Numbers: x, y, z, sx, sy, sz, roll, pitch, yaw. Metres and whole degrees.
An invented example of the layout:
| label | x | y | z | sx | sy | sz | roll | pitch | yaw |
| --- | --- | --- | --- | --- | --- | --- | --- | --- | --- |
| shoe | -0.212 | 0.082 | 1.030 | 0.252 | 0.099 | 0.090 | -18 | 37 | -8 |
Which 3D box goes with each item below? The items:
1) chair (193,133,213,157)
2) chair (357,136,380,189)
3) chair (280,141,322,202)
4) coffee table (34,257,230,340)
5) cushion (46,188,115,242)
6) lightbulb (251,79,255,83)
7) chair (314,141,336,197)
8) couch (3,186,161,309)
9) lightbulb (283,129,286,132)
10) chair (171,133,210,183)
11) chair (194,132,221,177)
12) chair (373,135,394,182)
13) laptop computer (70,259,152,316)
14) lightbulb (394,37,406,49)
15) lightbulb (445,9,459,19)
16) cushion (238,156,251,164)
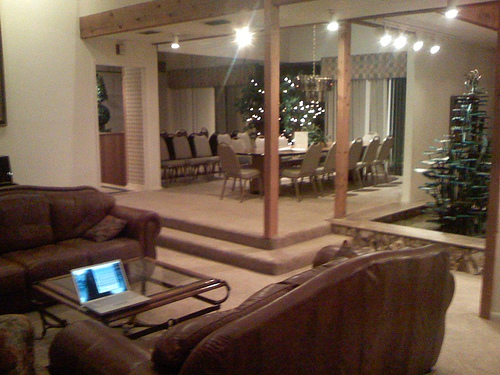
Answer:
| label | x | y | z | sx | sy | sz | roll | pitch | yaw |
| --- | --- | --- | --- | --- | --- | --- | --- | --- | --- |
| chair | -1.142 | -1.000 | 9.331 | 0.470 | 0.613 | 0.486 | -12 | 15 | -41 |
| chair | 2.508 | -0.517 | 8.298 | 0.580 | 1.040 | 0.492 | 6 | 8 | 44 |
| chair | 1.042 | -0.374 | 7.223 | 0.608 | 1.203 | 0.658 | -5 | 8 | -43 |
| coffee table | -1.156 | 0.990 | 3.541 | 1.770 | 0.296 | 1.713 | 0 | 3 | -10 |
| cushion | -1.972 | 0.321 | 4.563 | 0.575 | 0.558 | 0.263 | -20 | -13 | -39 |
| lightbulb | 0.109 | -3.225 | 11.871 | 0.107 | 0.116 | 0.151 | -8 | 9 | 13 |
| chair | 1.471 | -0.376 | 7.539 | 0.509 | 0.920 | 0.506 | -6 | 8 | -42 |
| couch | -1.708 | 0.613 | 3.887 | 0.530 | 0.607 | 1.180 | 4 | 7 | 38 |
| lightbulb | 1.052 | -1.723 | 11.885 | 0.106 | 0.032 | 0.079 | 2 | 6 | 42 |
| chair | -1.369 | -0.720 | 8.988 | 0.686 | 1.100 | 0.625 | -4 | 14 | -36 |
| chair | -1.002 | -0.823 | 9.422 | 0.466 | 0.962 | 0.456 | 11 | 16 | 41 |
| chair | 2.884 | -0.620 | 8.674 | 0.426 | 1.030 | 0.436 | -7 | 13 | -40 |
| laptop computer | -1.123 | 0.807 | 3.168 | 0.387 | 0.358 | 0.519 | 11 | 13 | 37 |
| lightbulb | 2.657 | -2.527 | 6.866 | 0.213 | 0.143 | 0.212 | -4 | 10 | 2 |
| lightbulb | 1.993 | -1.728 | 3.891 | 0.082 | 0.058 | 0.228 | -4 | 10 | 32 |
| cushion | -0.127 | -0.695 | 9.813 | 0.220 | 0.171 | 0.216 | 2 | 19 | 2 |
